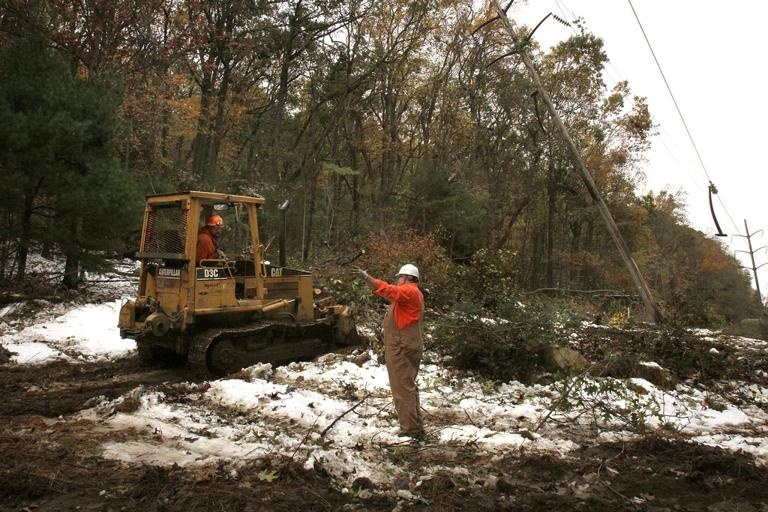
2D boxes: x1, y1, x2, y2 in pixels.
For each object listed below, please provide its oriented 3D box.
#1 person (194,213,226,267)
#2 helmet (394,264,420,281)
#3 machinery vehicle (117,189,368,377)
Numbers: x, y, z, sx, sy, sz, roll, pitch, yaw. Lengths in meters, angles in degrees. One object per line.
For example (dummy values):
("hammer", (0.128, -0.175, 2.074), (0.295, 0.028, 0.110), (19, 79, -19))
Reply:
("person", (-4.304, -0.445, 15.293), (0.610, 1.164, 1.167), (6, 8, -8))
("helmet", (0.550, 0.304, 13.306), (0.381, 0.248, 0.336), (9, -7, -1))
("machinery vehicle", (-3.773, 0.630, 16.896), (3.802, 4.622, 6.187), (4, 5, 43))
